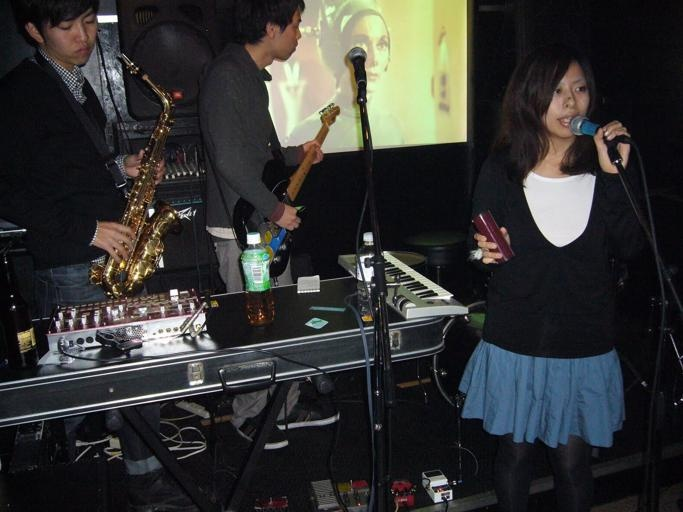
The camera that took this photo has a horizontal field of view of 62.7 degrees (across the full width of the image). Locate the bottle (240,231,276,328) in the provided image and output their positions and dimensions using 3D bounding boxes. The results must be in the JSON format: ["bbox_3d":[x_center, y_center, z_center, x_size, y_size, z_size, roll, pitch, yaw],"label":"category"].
[{"bbox_3d":[-0.353,0.093,2.347,0.126,0.386,0.303,-6,5,-9],"label":"bottle"}]

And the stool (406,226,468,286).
[{"bbox_3d":[0.669,-0.021,4.035,0.386,0.550,0.414,-1,17,5],"label":"stool"}]

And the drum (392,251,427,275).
[{"bbox_3d":[0.405,0.026,3.229,0.149,0.108,0.154,2,13,0],"label":"drum"}]
